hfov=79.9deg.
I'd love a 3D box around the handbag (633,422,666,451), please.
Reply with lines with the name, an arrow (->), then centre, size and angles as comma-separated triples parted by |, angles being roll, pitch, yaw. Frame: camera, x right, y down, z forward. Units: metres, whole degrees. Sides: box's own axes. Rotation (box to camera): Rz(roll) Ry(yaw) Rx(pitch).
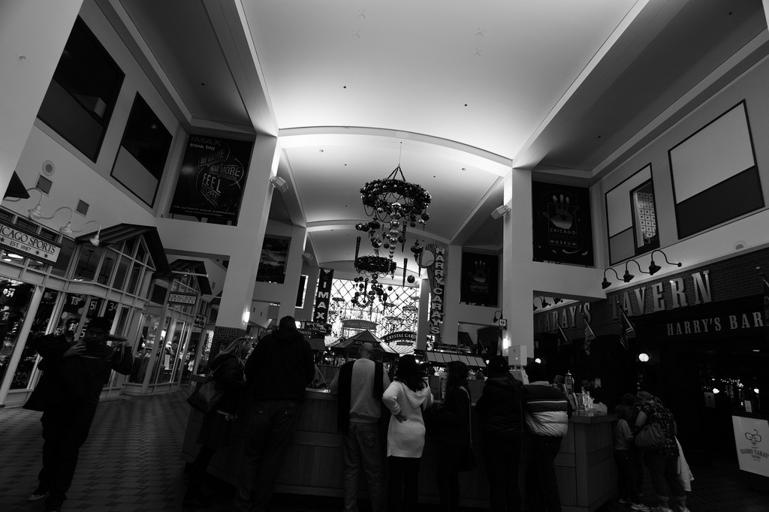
handbag -> 4.264, 2.906, 7.385 | 0.452, 0.446, 0.252 | 2, -9, 44

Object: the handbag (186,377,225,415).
handbag -> -2.634, 2.047, 6.760 | 0.461, 0.502, 0.172 | 10, -17, -19

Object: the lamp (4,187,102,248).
lamp -> -6.885, -0.888, 9.844 | 0.595, 0.952, 2.167 | 0, -15, 15

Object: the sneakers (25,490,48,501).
sneakers -> -4.837, 3.350, 6.438 | 0.282, 0.110, 0.101 | 15, -1, -31

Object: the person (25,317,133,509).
person -> -4.303, 2.163, 6.397 | 1.010, 2.569, 0.682 | -3, -17, 24
